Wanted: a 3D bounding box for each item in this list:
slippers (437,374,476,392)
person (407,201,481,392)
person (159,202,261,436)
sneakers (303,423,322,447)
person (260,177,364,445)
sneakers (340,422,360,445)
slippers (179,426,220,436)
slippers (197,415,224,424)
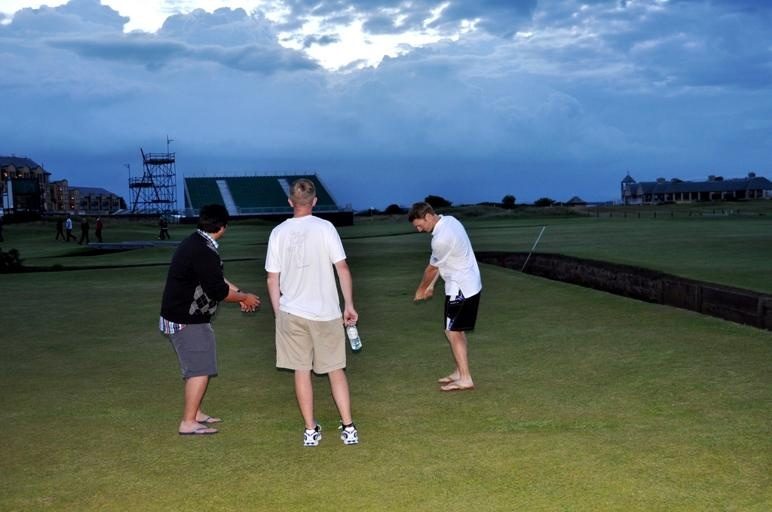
[{"bbox_3d":[1.020,1.695,7.513,0.632,0.215,0.175,3,-1,-1],"label":"slippers"},{"bbox_3d":[0.813,0.517,7.430,0.842,2.499,0.604,1,12,11],"label":"person"},{"bbox_3d":[-2.053,0.811,6.297,0.864,2.267,0.688,-6,12,-21],"label":"person"},{"bbox_3d":[-0.799,1.906,6.048,0.201,0.201,0.283,-2,10,-6],"label":"sneakers"},{"bbox_3d":[-0.765,0.785,6.050,0.917,2.414,0.812,-4,12,-11],"label":"person"},{"bbox_3d":[-0.386,1.913,6.014,0.139,0.121,0.292,0,6,-8],"label":"sneakers"},{"bbox_3d":[-2.075,1.945,6.210,0.286,0.049,0.142,-1,0,-1],"label":"slippers"},{"bbox_3d":[-2.055,1.891,6.474,0.102,0.052,0.246,3,2,44],"label":"slippers"}]
